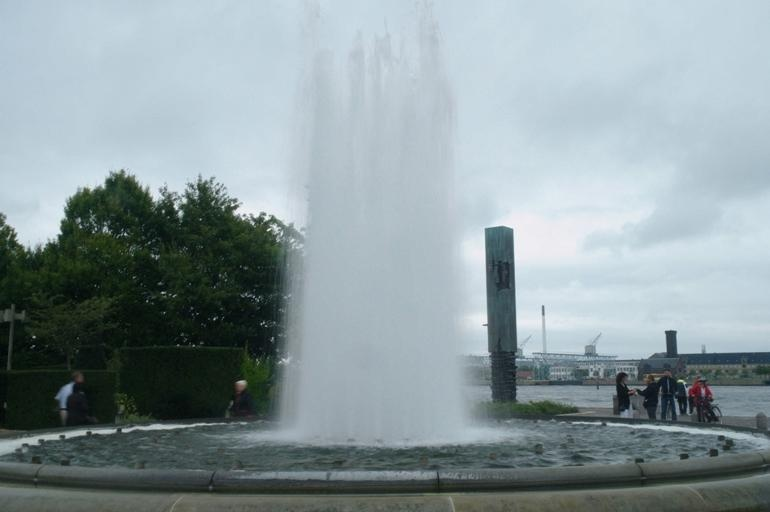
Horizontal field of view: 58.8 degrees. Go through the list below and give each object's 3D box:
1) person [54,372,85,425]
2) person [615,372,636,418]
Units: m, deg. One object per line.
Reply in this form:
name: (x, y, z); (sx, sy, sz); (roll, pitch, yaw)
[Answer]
person: (-8.717, 3.913, 18.889); (0.541, 1.505, 0.958); (6, -15, -26)
person: (7.655, 4.444, 21.884); (0.471, 1.359, 2.285); (-5, -14, 18)
